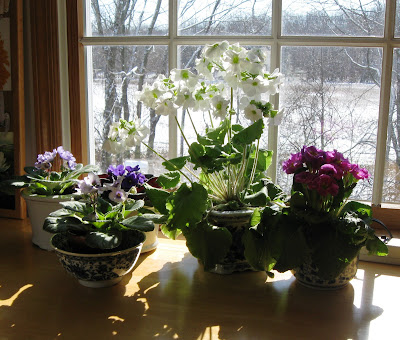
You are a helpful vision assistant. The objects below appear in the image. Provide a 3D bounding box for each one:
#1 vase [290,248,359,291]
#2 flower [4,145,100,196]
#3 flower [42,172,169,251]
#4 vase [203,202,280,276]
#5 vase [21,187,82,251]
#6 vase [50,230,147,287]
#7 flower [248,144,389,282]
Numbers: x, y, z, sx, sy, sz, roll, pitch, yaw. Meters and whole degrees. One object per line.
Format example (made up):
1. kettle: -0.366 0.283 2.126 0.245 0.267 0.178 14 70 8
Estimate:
1. vase: 0.400 0.304 1.168 0.168 0.081 0.151 -4 -1 31
2. flower: -0.641 0.024 1.578 0.339 0.157 0.323 -2 13 -4
3. flower: -0.307 0.150 1.163 0.315 0.152 0.319 20 24 36
4. vase: 0.146 0.225 1.312 0.220 0.210 0.244 -2 6 -11
5. vase: -0.625 0.184 1.539 0.245 0.238 0.243 3 12 2
6. vase: -0.328 0.249 1.200 0.229 0.102 0.222 0 3 -1
7. flower: 0.374 0.115 1.225 0.475 0.379 0.430 0 5 25
